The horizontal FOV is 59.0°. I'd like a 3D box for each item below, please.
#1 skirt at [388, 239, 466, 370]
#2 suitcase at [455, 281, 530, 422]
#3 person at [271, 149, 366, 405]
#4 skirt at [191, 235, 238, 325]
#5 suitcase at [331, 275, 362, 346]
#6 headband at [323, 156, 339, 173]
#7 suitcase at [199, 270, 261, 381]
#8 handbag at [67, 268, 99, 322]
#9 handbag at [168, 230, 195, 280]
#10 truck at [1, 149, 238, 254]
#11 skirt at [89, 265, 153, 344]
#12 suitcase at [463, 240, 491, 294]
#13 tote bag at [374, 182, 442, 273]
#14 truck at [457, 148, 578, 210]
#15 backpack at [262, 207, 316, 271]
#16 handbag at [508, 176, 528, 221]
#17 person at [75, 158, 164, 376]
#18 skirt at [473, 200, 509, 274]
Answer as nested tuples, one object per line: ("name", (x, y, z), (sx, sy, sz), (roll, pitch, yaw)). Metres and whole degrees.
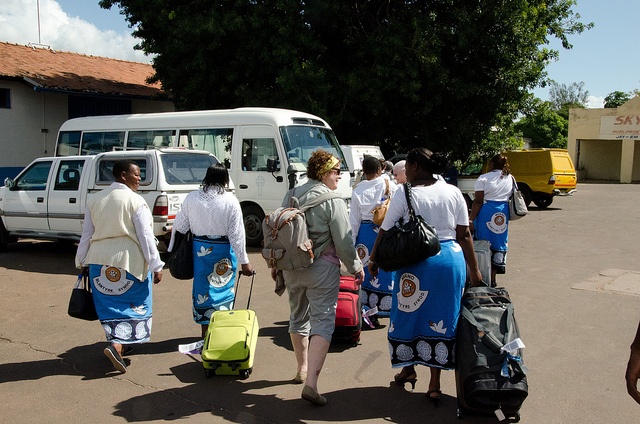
("skirt", (1.287, 1.058, 7.110), (0.823, 1.637, 1.300), (0, -1, 1))
("suitcase", (2.002, 1.623, 6.604), (0.764, 1.383, 0.606), (1, 3, 11))
("person", (-0.011, 0.802, 7.170), (1.009, 3.177, 0.673), (0, 3, 4))
("skirt", (-1.532, 0.911, 7.921), (0.678, 1.212, 0.323), (0, 1, 3))
("suitcase", (0.330, 1.390, 8.719), (0.589, 0.948, 0.917), (2, -3, 10))
("headband", (0.137, -0.613, 7.300), (0.175, 0.051, 0.177), (-33, -5, 27))
("suitcase", (-1.269, 1.567, 7.912), (0.707, 1.448, 0.790), (2, -34, 4))
("handbag", (-3.294, 1.144, 7.802), (0.378, 0.733, 0.307), (-1, 3, -24))
("handbag", (-1.973, 0.613, 7.963), (0.363, 0.687, 0.208), (0, 3, -10))
("truck", (-4.925, -0.574, 12.827), (4.902, 2.068, 2.682), (6, 5, 19))
("skirt", (-2.766, 1.143, 8.006), (0.905, 1.301, 0.717), (-2, 10, 0))
("suitcase", (2.346, 0.796, 8.218), (0.428, 0.901, 0.718), (-2, -1, 7))
("tote bag", (1.045, 0.187, 6.795), (0.772, 1.055, 0.294), (1, 3, 10))
("truck", (6.167, -1.090, 17.542), (3.983, 2.006, 2.234), (5, 7, 28))
("backpack", (-0.464, 0.353, 7.186), (0.747, 0.759, 0.433), (4, 14, 37))
("handbag", (3.712, -0.278, 10.259), (0.258, 0.636, 0.625), (-21, 1, 36))
("person", (-2.777, 0.592, 7.838), (1.040, 2.596, 0.431), (-1, 3, -20))
("skirt", (3.070, 0.429, 10.074), (0.444, 1.267, 0.516), (2, 4, 23))
